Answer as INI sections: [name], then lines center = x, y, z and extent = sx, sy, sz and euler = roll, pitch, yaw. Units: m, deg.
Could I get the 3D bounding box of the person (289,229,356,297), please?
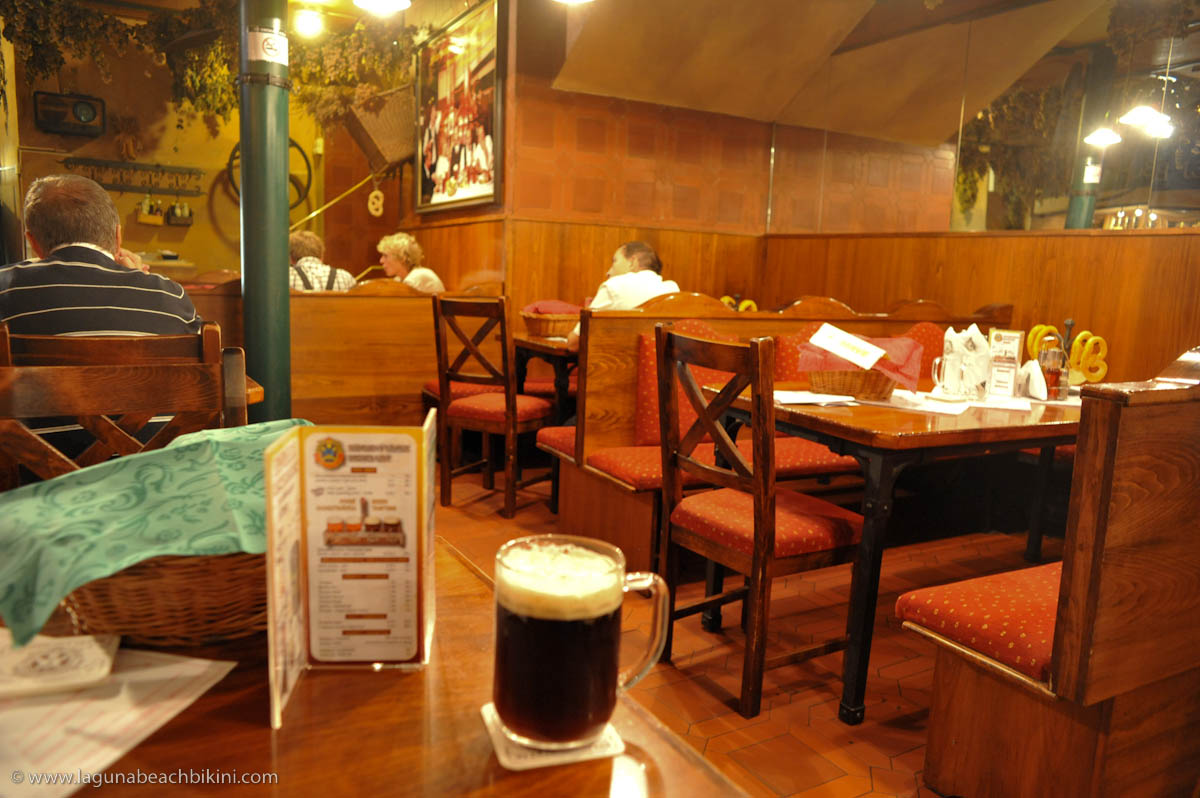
[person]
center = -1.916, -0.940, 5.938
extent = 0.386, 0.342, 1.099
euler = -4, 15, -18
